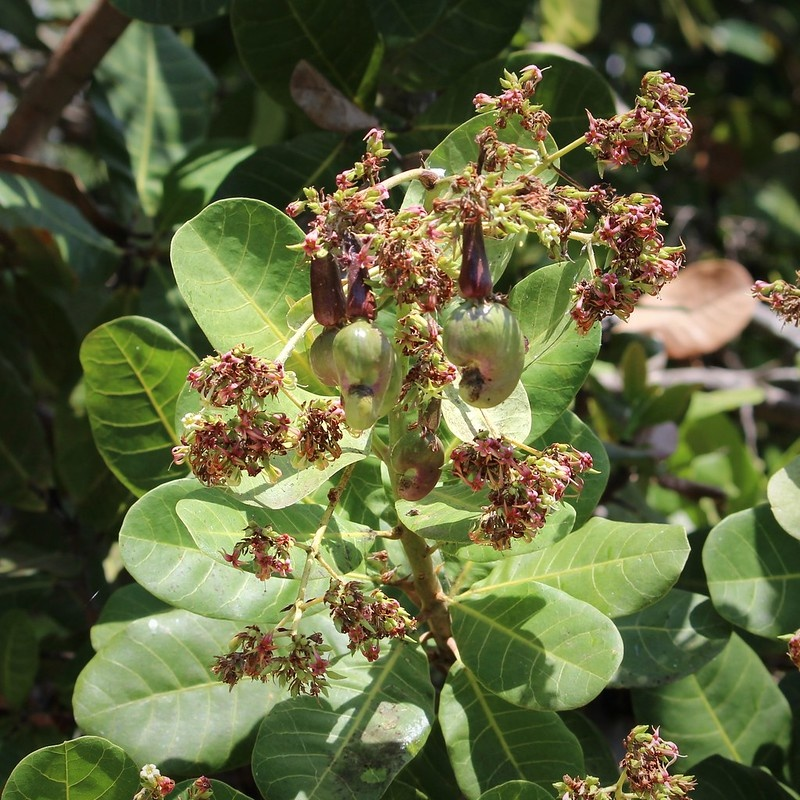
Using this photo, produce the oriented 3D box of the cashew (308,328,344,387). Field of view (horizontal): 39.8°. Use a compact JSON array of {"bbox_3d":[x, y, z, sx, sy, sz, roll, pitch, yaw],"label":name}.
[{"bbox_3d":[-0.093,-0.051,1.362,0.050,0.058,0.055,-7,5,-9],"label":"cashew"}]
